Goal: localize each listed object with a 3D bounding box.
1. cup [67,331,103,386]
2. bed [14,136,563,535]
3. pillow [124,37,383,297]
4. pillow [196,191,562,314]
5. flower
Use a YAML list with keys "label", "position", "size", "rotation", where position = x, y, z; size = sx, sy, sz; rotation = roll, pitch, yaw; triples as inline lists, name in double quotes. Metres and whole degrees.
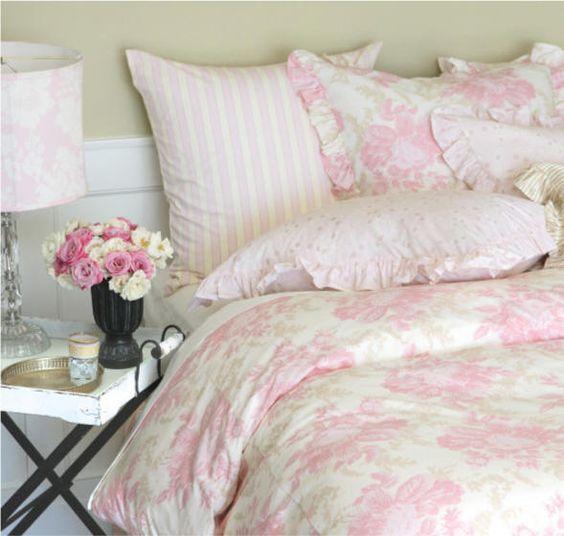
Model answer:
- label: "cup"
  position: [-0.443, 0.202, 1.382]
  size: [0.070, 0.096, 0.066]
  rotation: [6, 10, -1]
- label: "bed"
  position: [0.016, 0.107, 1.278]
  size: [0.582, 0.684, 1.021]
  rotation: [1, 24, 1]
- label: "pillow"
  position: [0.046, -0.502, 2.232]
  size: [0.332, 0.845, 0.959]
  rotation: [-5, 9, 24]
- label: "pillow"
  position: [0.219, -0.047, 1.506]
  size: [0.872, 0.212, 0.301]
  rotation: [-3, 22, 1]
- label: "flower"
  position: [-0.419, -0.043, 1.463]
  size: [0.217, 0.149, 0.242]
  rotation: [7, 13, 30]
